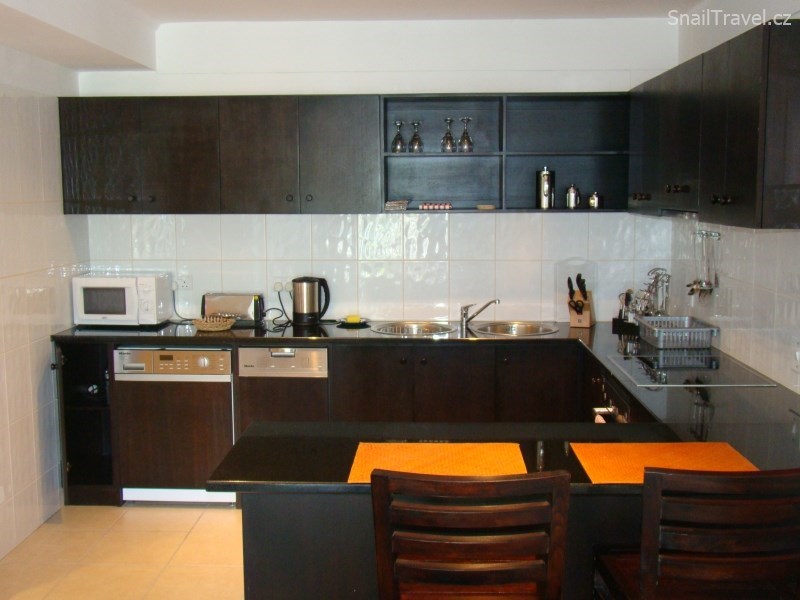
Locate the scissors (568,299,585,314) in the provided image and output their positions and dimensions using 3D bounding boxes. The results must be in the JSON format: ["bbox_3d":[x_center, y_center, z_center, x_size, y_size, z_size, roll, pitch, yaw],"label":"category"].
[{"bbox_3d":[1.161,0.047,4.702,0.099,0.092,0.030,0,11,8],"label":"scissors"}]

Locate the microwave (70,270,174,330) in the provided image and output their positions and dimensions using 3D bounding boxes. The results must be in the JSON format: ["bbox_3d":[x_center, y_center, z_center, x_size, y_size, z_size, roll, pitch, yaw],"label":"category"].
[{"bbox_3d":[-1.804,0.004,4.513,0.501,0.365,0.332,2,11,-4],"label":"microwave"}]

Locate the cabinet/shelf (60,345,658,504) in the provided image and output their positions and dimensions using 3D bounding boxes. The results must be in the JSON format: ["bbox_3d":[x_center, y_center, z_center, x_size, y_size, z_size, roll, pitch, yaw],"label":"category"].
[{"bbox_3d":[-0.715,0.581,4.888,3.440,0.870,0.993,5,8,5],"label":"cabinet/shelf"}]

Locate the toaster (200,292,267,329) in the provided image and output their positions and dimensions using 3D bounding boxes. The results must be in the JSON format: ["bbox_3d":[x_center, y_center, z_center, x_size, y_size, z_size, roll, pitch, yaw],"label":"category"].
[{"bbox_3d":[-1.095,0.056,4.688,0.344,0.231,0.229,4,13,7],"label":"toaster"}]

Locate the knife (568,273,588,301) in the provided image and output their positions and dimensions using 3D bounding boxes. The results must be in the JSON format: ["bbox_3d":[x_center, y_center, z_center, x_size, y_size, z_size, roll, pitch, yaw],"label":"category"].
[{"bbox_3d":[1.189,-0.087,4.743,0.134,0.177,0.052,2,7,38],"label":"knife"}]

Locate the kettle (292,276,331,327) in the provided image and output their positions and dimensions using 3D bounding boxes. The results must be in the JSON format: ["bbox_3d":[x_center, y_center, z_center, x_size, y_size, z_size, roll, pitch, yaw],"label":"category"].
[{"bbox_3d":[-0.605,0.002,4.787,0.256,0.317,0.230,-3,11,-7],"label":"kettle"}]
